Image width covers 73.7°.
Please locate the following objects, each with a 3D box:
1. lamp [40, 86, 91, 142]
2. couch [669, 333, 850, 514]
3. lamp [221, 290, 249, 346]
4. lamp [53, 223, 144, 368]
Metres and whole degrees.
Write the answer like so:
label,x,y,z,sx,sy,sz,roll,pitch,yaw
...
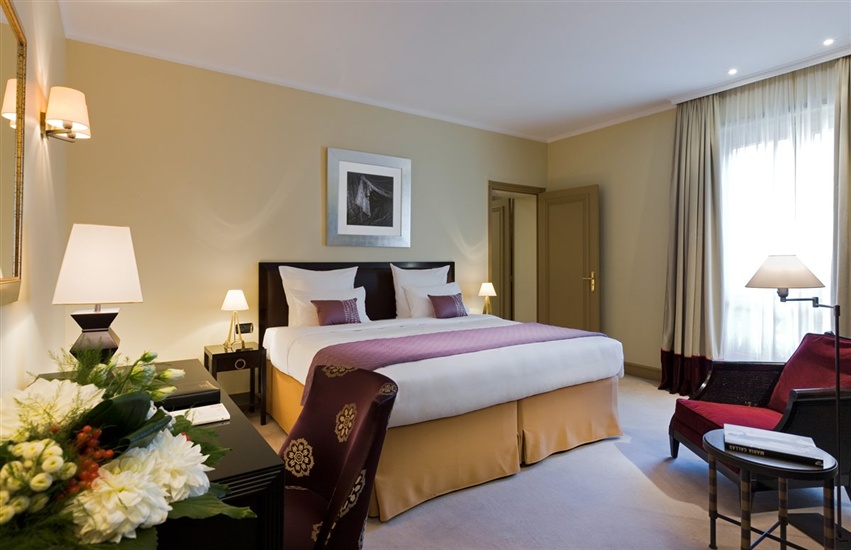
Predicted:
label,x,y,z,sx,sy,sz,roll,pitch,yaw
lamp,-2.708,-1.191,4.255,0.261,0.346,0.437,-3,3,-26
couch,2.684,1.057,4.402,1.198,1.216,1.110,1,-5,-5
lamp,-1.882,0.410,5.548,0.242,0.543,0.416,-3,3,-18
lamp,-2.023,0.100,3.489,0.468,0.846,1.271,-4,3,-34
